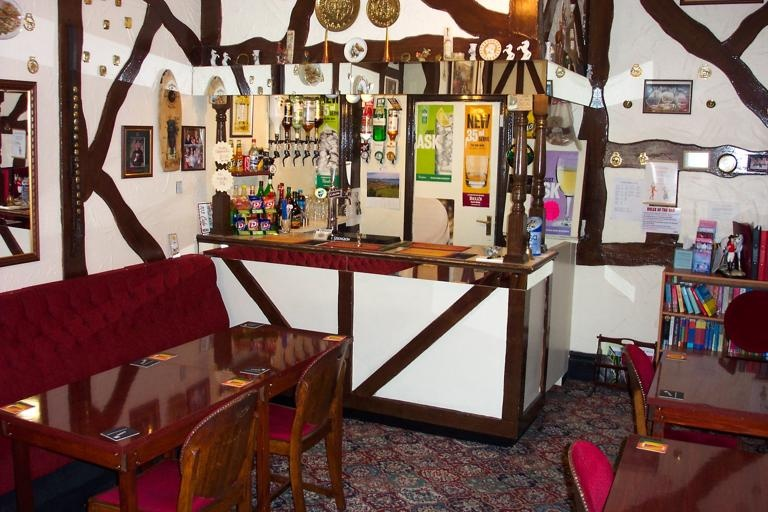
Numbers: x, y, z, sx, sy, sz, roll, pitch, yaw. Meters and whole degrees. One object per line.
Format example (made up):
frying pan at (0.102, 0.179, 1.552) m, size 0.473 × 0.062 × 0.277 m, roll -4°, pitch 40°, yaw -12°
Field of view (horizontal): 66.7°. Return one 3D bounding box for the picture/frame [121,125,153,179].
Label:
picture/frame at (-2.067, -0.875, 4.875) m, size 0.061 × 0.415 × 0.322 m, roll 8°, pitch 15°, yaw 24°

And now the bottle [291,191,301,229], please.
bottle at (-0.867, -0.453, 5.752) m, size 0.103 × 0.349 × 0.147 m, roll 0°, pitch 14°, yaw -9°

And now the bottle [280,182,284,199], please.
bottle at (-0.999, -0.643, 5.680) m, size 0.053 × 0.127 × 0.115 m, roll -1°, pitch 14°, yaw -12°

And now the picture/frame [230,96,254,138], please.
picture/frame at (-1.456, -1.418, 5.909) m, size 0.030 × 0.454 × 0.400 m, roll 4°, pitch 9°, yaw 21°

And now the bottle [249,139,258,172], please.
bottle at (-1.314, -0.988, 5.833) m, size 0.079 × 0.250 × 0.139 m, roll -4°, pitch 15°, yaw -25°

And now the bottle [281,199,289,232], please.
bottle at (-0.954, -0.396, 5.649) m, size 0.086 × 0.304 × 0.071 m, roll 0°, pitch 14°, yaw -11°

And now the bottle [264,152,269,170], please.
bottle at (-1.184, -0.956, 5.848) m, size 0.059 × 0.169 × 0.107 m, roll -1°, pitch 14°, yaw -13°

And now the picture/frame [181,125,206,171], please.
picture/frame at (-1.764, -0.999, 5.362) m, size 0.029 × 0.485 × 0.406 m, roll 2°, pitch 4°, yaw 23°
